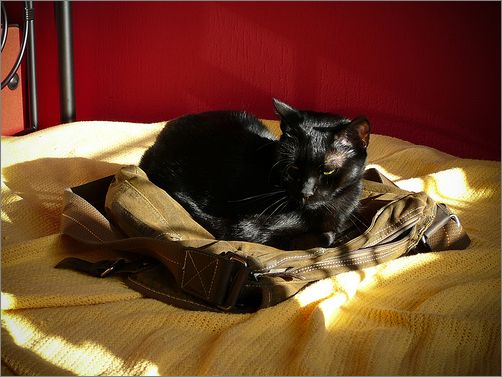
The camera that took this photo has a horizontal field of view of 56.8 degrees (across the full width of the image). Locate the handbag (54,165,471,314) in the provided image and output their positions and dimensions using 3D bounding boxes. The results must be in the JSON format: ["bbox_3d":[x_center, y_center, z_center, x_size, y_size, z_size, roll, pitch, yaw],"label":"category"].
[{"bbox_3d":[-0.103,0.134,1.187,0.640,0.172,0.535,5,12,36],"label":"handbag"}]

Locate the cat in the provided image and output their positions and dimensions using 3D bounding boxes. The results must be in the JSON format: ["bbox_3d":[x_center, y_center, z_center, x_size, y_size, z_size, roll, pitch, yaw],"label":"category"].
[{"bbox_3d":[-0.004,-0.080,1.419,0.581,0.409,0.437,12,34,11],"label":"cat"}]
